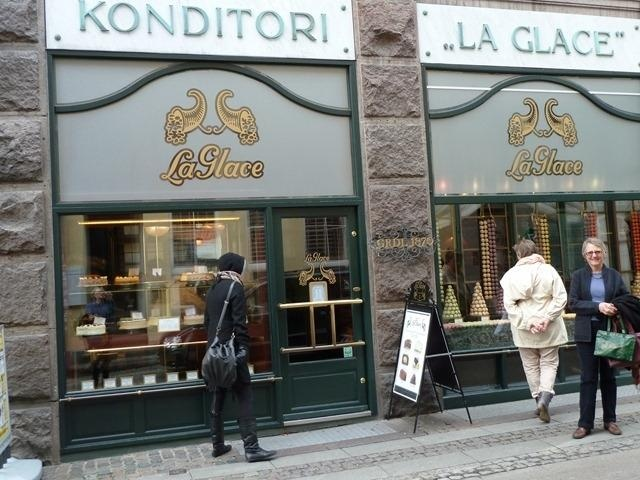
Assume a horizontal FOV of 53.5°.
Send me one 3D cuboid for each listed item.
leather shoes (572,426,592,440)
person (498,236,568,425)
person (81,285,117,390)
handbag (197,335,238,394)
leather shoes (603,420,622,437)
[{"bbox_3d":[3.128,2.312,7.591,0.286,0.112,0.093,8,-13,-44],"label":"leather shoes"},{"bbox_3d":[2.791,1.194,8.262,0.785,2.320,0.559,0,4,37],"label":"person"},{"bbox_3d":[-2.777,1.213,7.972,0.441,1.236,0.175,-4,4,-20],"label":"person"},{"bbox_3d":[-1.110,1.365,7.277,0.368,0.499,0.284,11,19,11],"label":"handbag"},{"bbox_3d":[3.532,2.269,7.675,0.088,0.094,0.236,-5,-4,-11],"label":"leather shoes"}]
